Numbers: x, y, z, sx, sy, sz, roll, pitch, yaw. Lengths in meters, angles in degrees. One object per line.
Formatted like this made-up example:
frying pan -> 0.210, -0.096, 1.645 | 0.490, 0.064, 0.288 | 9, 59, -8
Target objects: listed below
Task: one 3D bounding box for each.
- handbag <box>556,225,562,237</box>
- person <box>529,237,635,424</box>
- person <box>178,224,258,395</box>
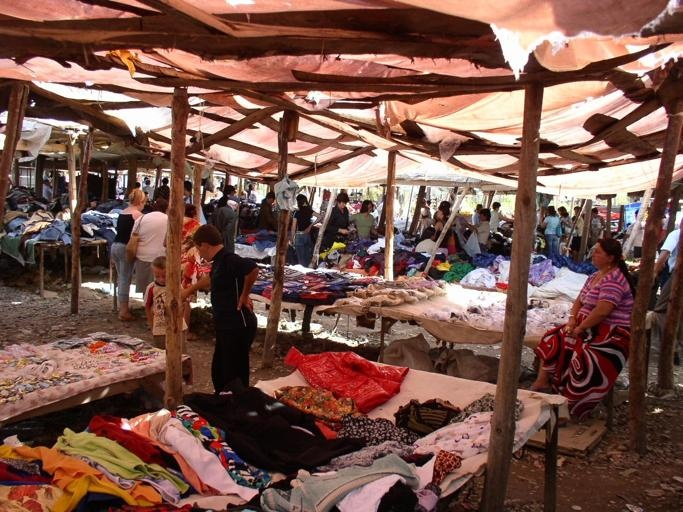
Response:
handbag -> 7.111, -0.808, 15.098 | 0.181, 0.401, 0.365 | 6, -9, 33
person -> 2.799, 0.869, 5.271 | 0.898, 2.123, 0.726 | 11, 15, 26
person -> -1.184, 0.564, 4.823 | 0.631, 1.769, 0.307 | 10, 14, 20
